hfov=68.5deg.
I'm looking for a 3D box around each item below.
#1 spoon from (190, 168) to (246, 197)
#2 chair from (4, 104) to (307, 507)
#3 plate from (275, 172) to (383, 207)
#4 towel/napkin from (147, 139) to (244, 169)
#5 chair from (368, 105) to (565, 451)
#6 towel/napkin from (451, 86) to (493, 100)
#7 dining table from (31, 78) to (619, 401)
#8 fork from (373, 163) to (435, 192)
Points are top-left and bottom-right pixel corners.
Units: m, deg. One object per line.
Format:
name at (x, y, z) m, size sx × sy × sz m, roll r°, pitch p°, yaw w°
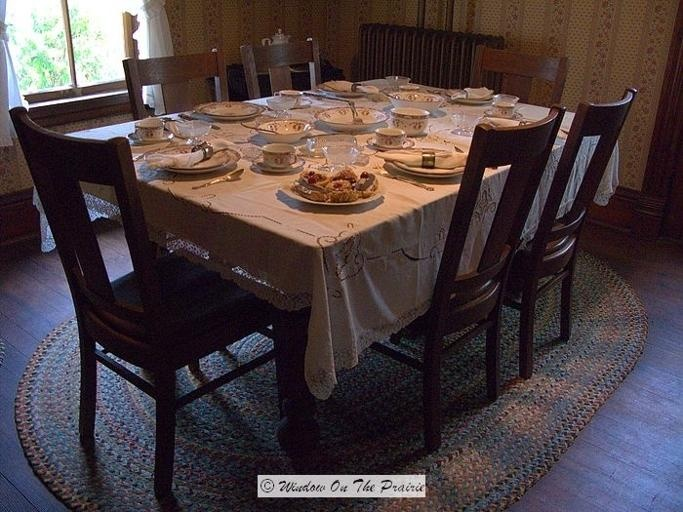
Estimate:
spoon at (-0.357, -0.243, 1.570) m, size 0.226 × 0.038 × 0.049 m, roll -28°, pitch 57°, yaw -28°
chair at (-0.515, 0.129, 1.660) m, size 0.705 × 1.107 × 0.789 m, roll 10°, pitch 19°, yaw 19°
plate at (-0.014, -0.171, 1.424) m, size 0.200 × 0.021 × 0.202 m, roll -1°, pitch -7°, yaw -25°
towel/napkin at (-0.452, -0.308, 1.593) m, size 0.161 × 0.040 × 0.186 m, roll 19°, pitch 27°, yaw 36°
chair at (0.336, 0.045, 1.794) m, size 0.535 × 1.136 × 0.601 m, roll -23°, pitch 34°, yaw -38°
towel/napkin at (0.633, -0.788, 2.441) m, size 0.132 × 0.040 × 0.129 m, roll -20°, pitch 31°, yaw -31°
dining table at (-0.002, -0.009, 1.923) m, size 1.009 × 0.945 × 1.310 m, roll 26°, pitch 38°, yaw 36°
fork at (0.202, -0.243, 1.571) m, size 0.177 × 0.026 × 0.025 m, roll 35°, pitch 66°, yaw 30°
